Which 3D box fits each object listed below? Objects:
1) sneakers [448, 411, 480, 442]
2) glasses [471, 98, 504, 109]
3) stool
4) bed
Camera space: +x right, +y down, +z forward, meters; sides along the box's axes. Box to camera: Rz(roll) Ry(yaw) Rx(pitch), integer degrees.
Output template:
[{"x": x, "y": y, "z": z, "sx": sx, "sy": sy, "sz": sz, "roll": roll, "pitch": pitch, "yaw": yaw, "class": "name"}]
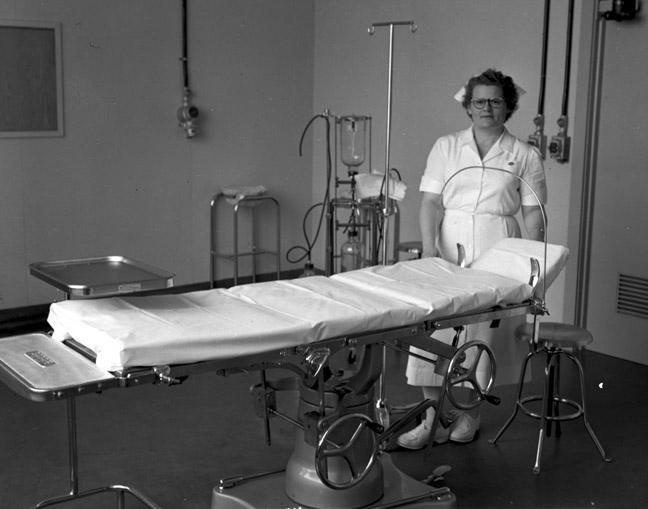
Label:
[{"x": 0.699, "y": 0.837, "z": 3.548, "sx": 0.098, "sy": 0.109, "sz": 0.257, "roll": 3, "pitch": 14, "yaw": 34, "class": "sneakers"}, {"x": 0.739, "y": -0.681, "z": 3.258, "sx": 0.128, "sy": 0.046, "sz": 0.046, "roll": -1, "pitch": 9, "yaw": 10, "class": "glasses"}, {"x": 1.088, "y": 0.643, "z": 3.447, "sx": 0.521, "sy": 0.592, "sz": 0.516, "roll": 2, "pitch": 4, "yaw": 5, "class": "stool"}, {"x": -0.084, "y": 0.270, "z": 2.600, "sx": 1.977, "sy": 0.339, "sz": 0.505, "roll": -7, "pitch": 10, "yaw": -24, "class": "bed"}]
